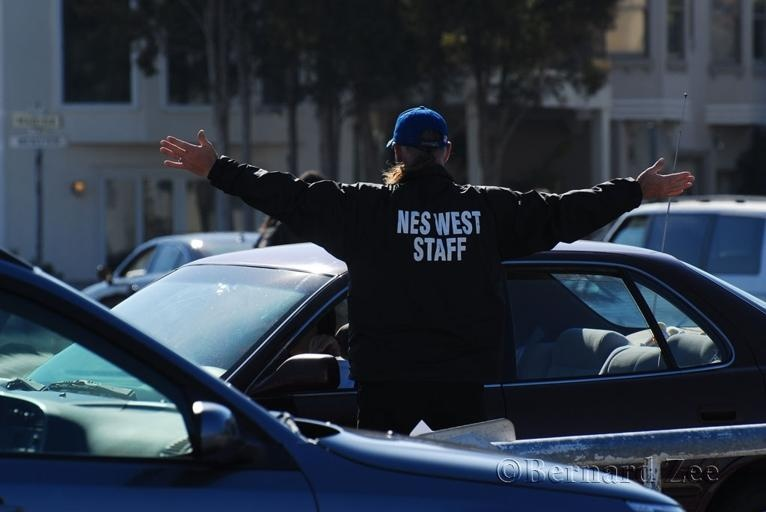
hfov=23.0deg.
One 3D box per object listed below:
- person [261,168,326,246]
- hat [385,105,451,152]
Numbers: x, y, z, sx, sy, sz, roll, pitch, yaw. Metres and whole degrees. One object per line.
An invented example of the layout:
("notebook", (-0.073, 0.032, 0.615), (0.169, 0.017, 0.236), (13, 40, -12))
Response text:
("person", (-0.883, -0.510, 18.314), (0.916, 0.249, 0.539), (-29, 8, -24))
("hat", (0.248, -1.065, 14.651), (0.443, 0.333, 0.584), (1, 7, -20))
